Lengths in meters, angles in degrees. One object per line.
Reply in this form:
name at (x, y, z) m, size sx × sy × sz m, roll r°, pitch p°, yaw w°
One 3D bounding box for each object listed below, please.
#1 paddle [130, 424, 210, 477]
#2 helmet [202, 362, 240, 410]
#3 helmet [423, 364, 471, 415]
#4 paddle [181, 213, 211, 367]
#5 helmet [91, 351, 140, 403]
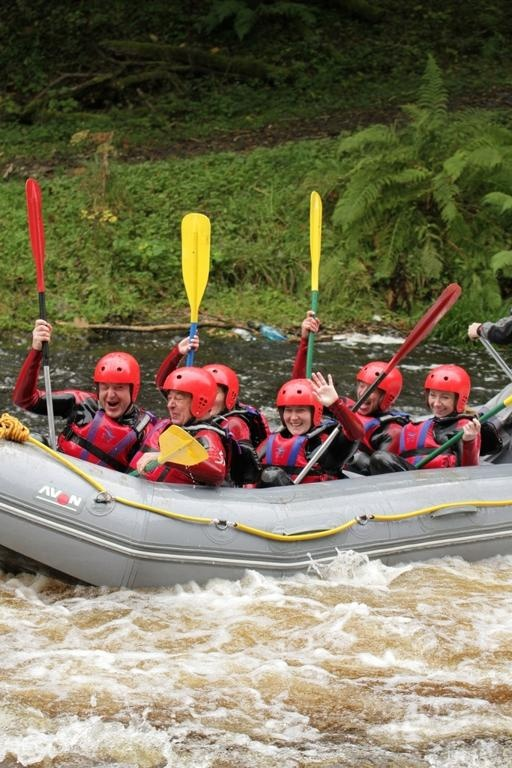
paddle at (-0.403, 0.315, 3.956) m, size 0.196 × 0.087 × 0.390 m, roll 43°, pitch 34°, yaw 12°
helmet at (-0.155, 0.004, 5.488) m, size 0.230 × 0.258 × 0.290 m, roll -2°, pitch -4°, yaw 42°
helmet at (1.110, 0.017, 5.492) m, size 0.257 × 0.247 × 0.316 m, roll -1°, pitch 1°, yaw 36°
paddle at (-0.384, -0.627, 5.828) m, size 0.231 × 1.034 × 0.086 m, roll 2°, pitch -6°, yaw -1°
helmet at (-0.739, -0.070, 4.963) m, size 0.239 × 0.238 × 0.283 m, roll 1°, pitch -1°, yaw 8°
